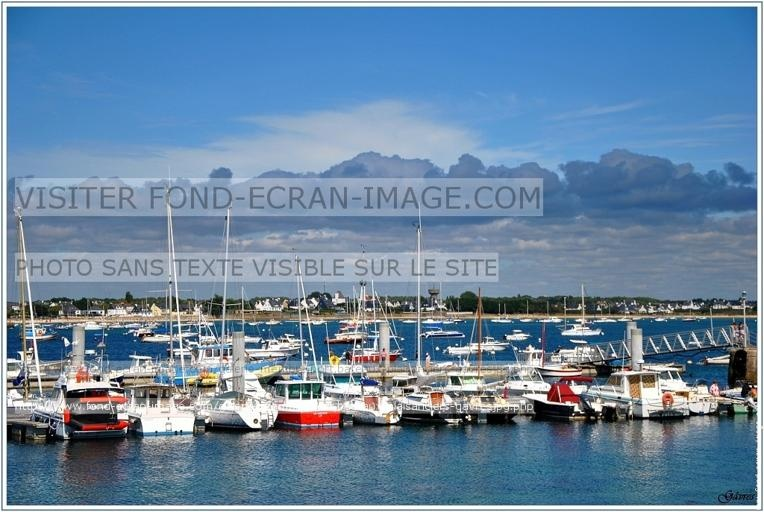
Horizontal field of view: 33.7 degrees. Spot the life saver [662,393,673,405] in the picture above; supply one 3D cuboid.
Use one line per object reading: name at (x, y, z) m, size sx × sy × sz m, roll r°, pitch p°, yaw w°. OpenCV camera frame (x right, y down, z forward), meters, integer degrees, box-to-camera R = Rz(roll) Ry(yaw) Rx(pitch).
life saver at (22.127, 10.988, 97.833) m, size 0.810 × 0.760 × 0.840 m, roll 3°, pitch 11°, yaw 11°
